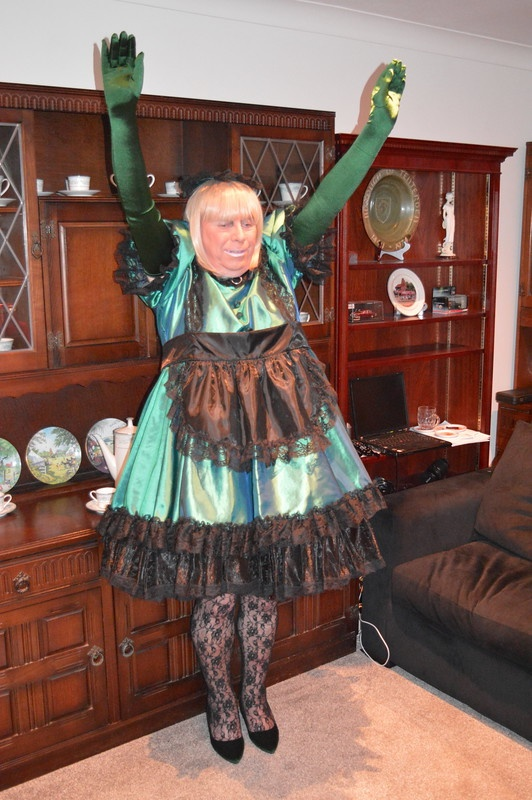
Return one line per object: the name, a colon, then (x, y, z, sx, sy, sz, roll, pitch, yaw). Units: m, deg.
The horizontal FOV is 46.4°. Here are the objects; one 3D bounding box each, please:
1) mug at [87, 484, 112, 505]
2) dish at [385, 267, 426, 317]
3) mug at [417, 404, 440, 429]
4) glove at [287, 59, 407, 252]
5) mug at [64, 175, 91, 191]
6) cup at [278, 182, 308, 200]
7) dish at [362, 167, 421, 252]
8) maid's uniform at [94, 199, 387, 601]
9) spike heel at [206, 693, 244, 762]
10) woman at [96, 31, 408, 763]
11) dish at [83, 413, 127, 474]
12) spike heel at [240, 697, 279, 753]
mug: (-0.492, 0.275, 1.837, 0.075, 0.052, 0.058, 3, -4, -28)
dish: (0.699, -0.547, 3.171, 0.234, 0.239, 0.047, 8, -14, -37)
mug: (0.853, 0.090, 3.228, 0.084, 0.097, 0.133, -4, -9, 32)
glove: (0.202, -0.518, 1.360, 0.158, 0.325, 0.360, -4, 5, -34)
mug: (-0.541, -0.635, 1.826, 0.083, 0.057, 0.064, -5, 24, -10)
cup: (0.096, -0.740, 2.203, 0.104, 0.071, 0.082, -14, 21, -29)
dish: (0.598, -0.890, 2.956, 0.353, 0.351, 0.085, -33, 26, -30)
maid's uniform: (-0.051, -0.001, 1.396, 0.619, 0.858, 0.326, -3, 5, -21)
spike heel: (-0.114, 0.913, 1.720, 0.067, 0.055, 0.181, -1, 1, -20)
woman: (-0.064, 0.065, 1.477, 0.654, 1.625, 0.523, -3, 8, -21)
dish: (-0.534, 0.142, 2.073, 0.177, 0.176, 0.029, -11, 9, -44)
spike heel: (-0.010, 0.914, 1.767, 0.081, 0.032, 0.207, -4, 15, -16)
